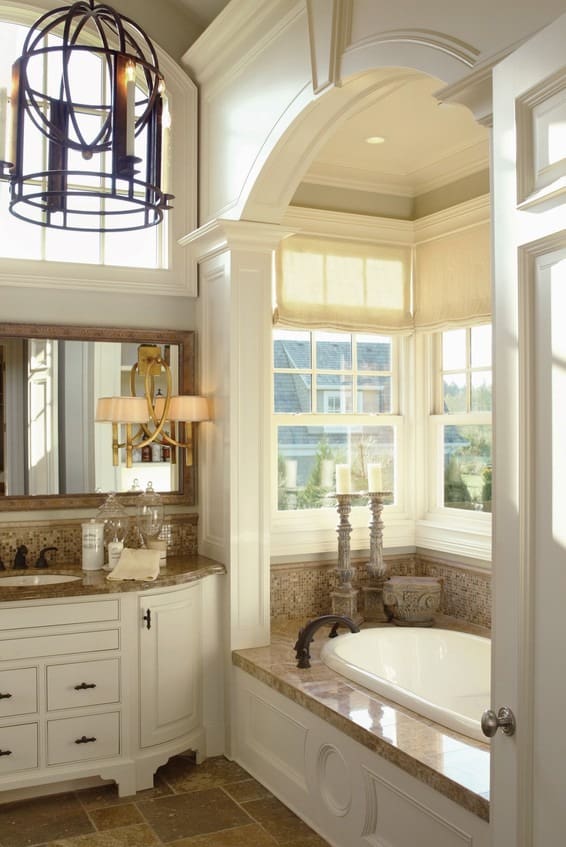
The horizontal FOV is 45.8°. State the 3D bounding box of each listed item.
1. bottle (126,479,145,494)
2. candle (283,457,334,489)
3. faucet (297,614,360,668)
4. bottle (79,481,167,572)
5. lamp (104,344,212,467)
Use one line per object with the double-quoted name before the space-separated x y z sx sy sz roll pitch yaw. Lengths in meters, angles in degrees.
"bottle" -0.776 0.329 3.534 0.071 0.078 0.070 1 1 -43
"candle" 0.162 0.306 4.102 0.337 0.179 0.057 3 -8 -35
"faucet" 0.226 0.964 3.183 0.262 0.204 0.741 -2 -6 8
"bottle" -0.801 0.510 3.294 0.387 0.397 0.135 1 -1 -41
"lamp" -0.706 -0.121 3.602 0.571 0.658 0.602 3 7 31
